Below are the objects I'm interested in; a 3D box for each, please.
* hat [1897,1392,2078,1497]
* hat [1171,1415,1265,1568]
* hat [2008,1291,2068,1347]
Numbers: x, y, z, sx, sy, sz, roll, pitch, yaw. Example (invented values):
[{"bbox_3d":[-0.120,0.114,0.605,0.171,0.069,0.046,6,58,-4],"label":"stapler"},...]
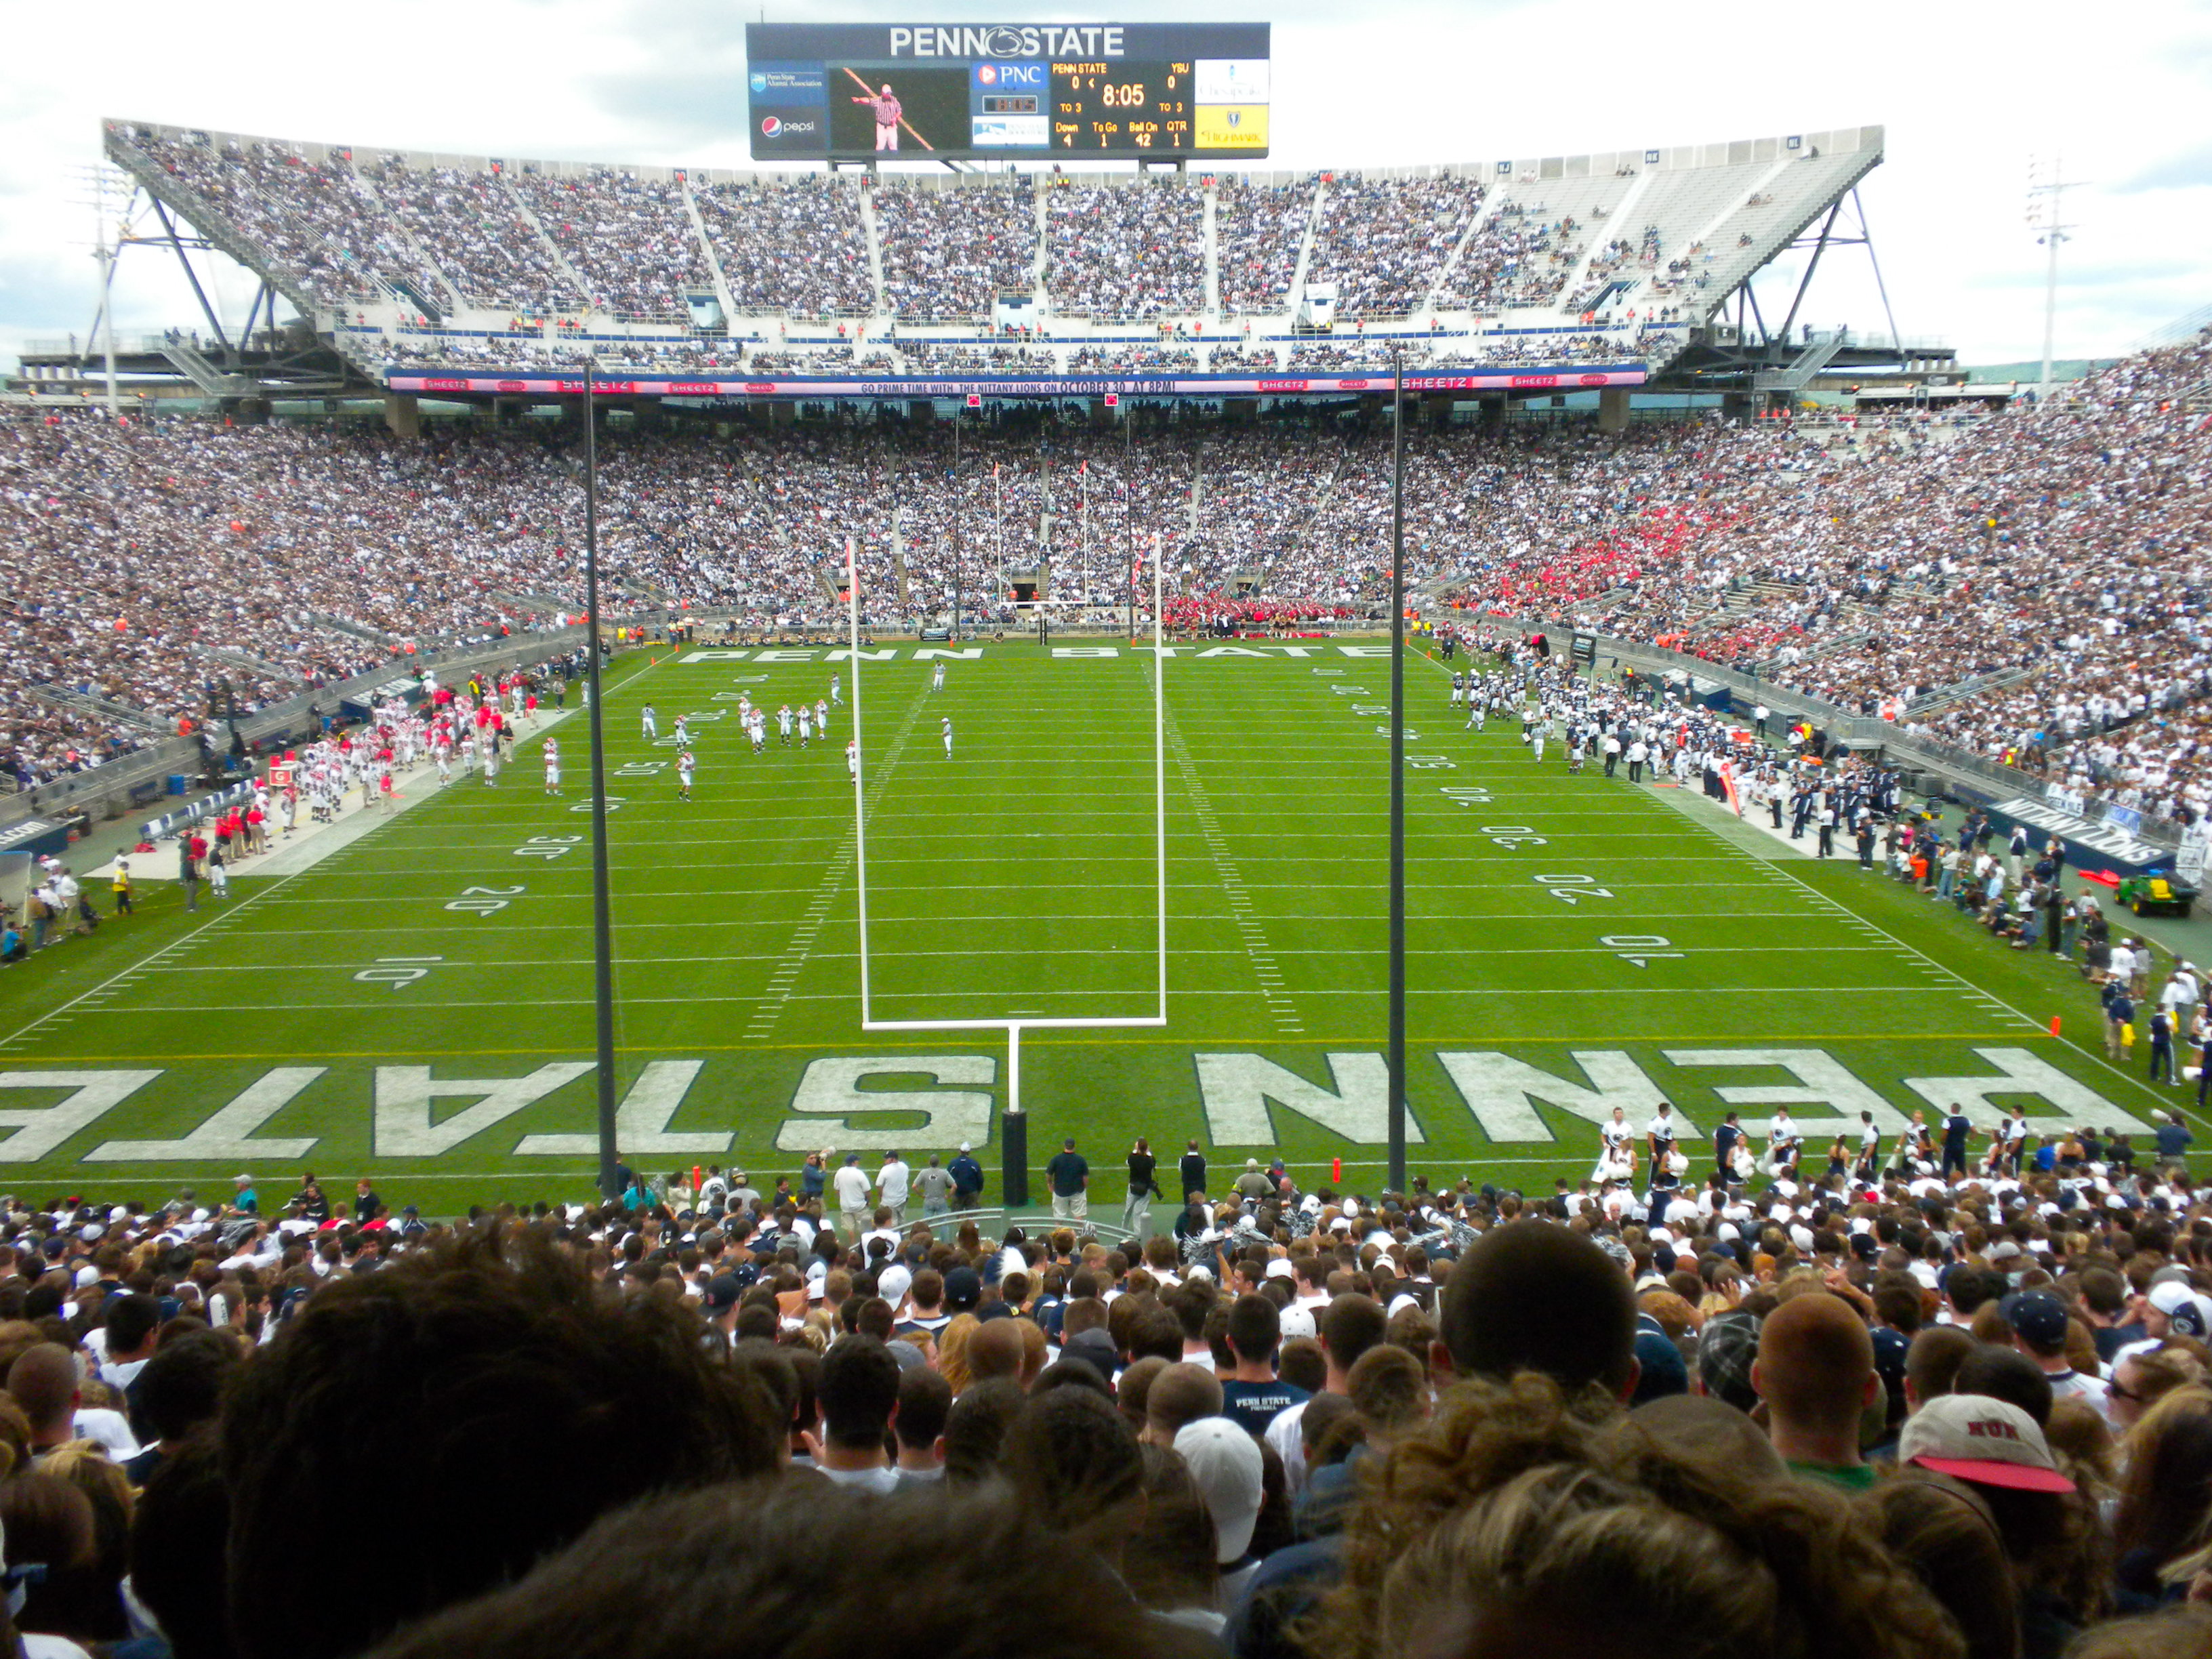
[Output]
[{"bbox_3d":[1.533,1.044,3.443,0.245,0.121,0.341,6,-11,16],"label":"hat"},{"bbox_3d":[0.221,1.314,3.936,0.206,0.109,0.312,6,25,-16],"label":"hat"},{"bbox_3d":[2.541,1.332,5.343,0.122,0.143,0.151,-3,29,19],"label":"hat"}]
